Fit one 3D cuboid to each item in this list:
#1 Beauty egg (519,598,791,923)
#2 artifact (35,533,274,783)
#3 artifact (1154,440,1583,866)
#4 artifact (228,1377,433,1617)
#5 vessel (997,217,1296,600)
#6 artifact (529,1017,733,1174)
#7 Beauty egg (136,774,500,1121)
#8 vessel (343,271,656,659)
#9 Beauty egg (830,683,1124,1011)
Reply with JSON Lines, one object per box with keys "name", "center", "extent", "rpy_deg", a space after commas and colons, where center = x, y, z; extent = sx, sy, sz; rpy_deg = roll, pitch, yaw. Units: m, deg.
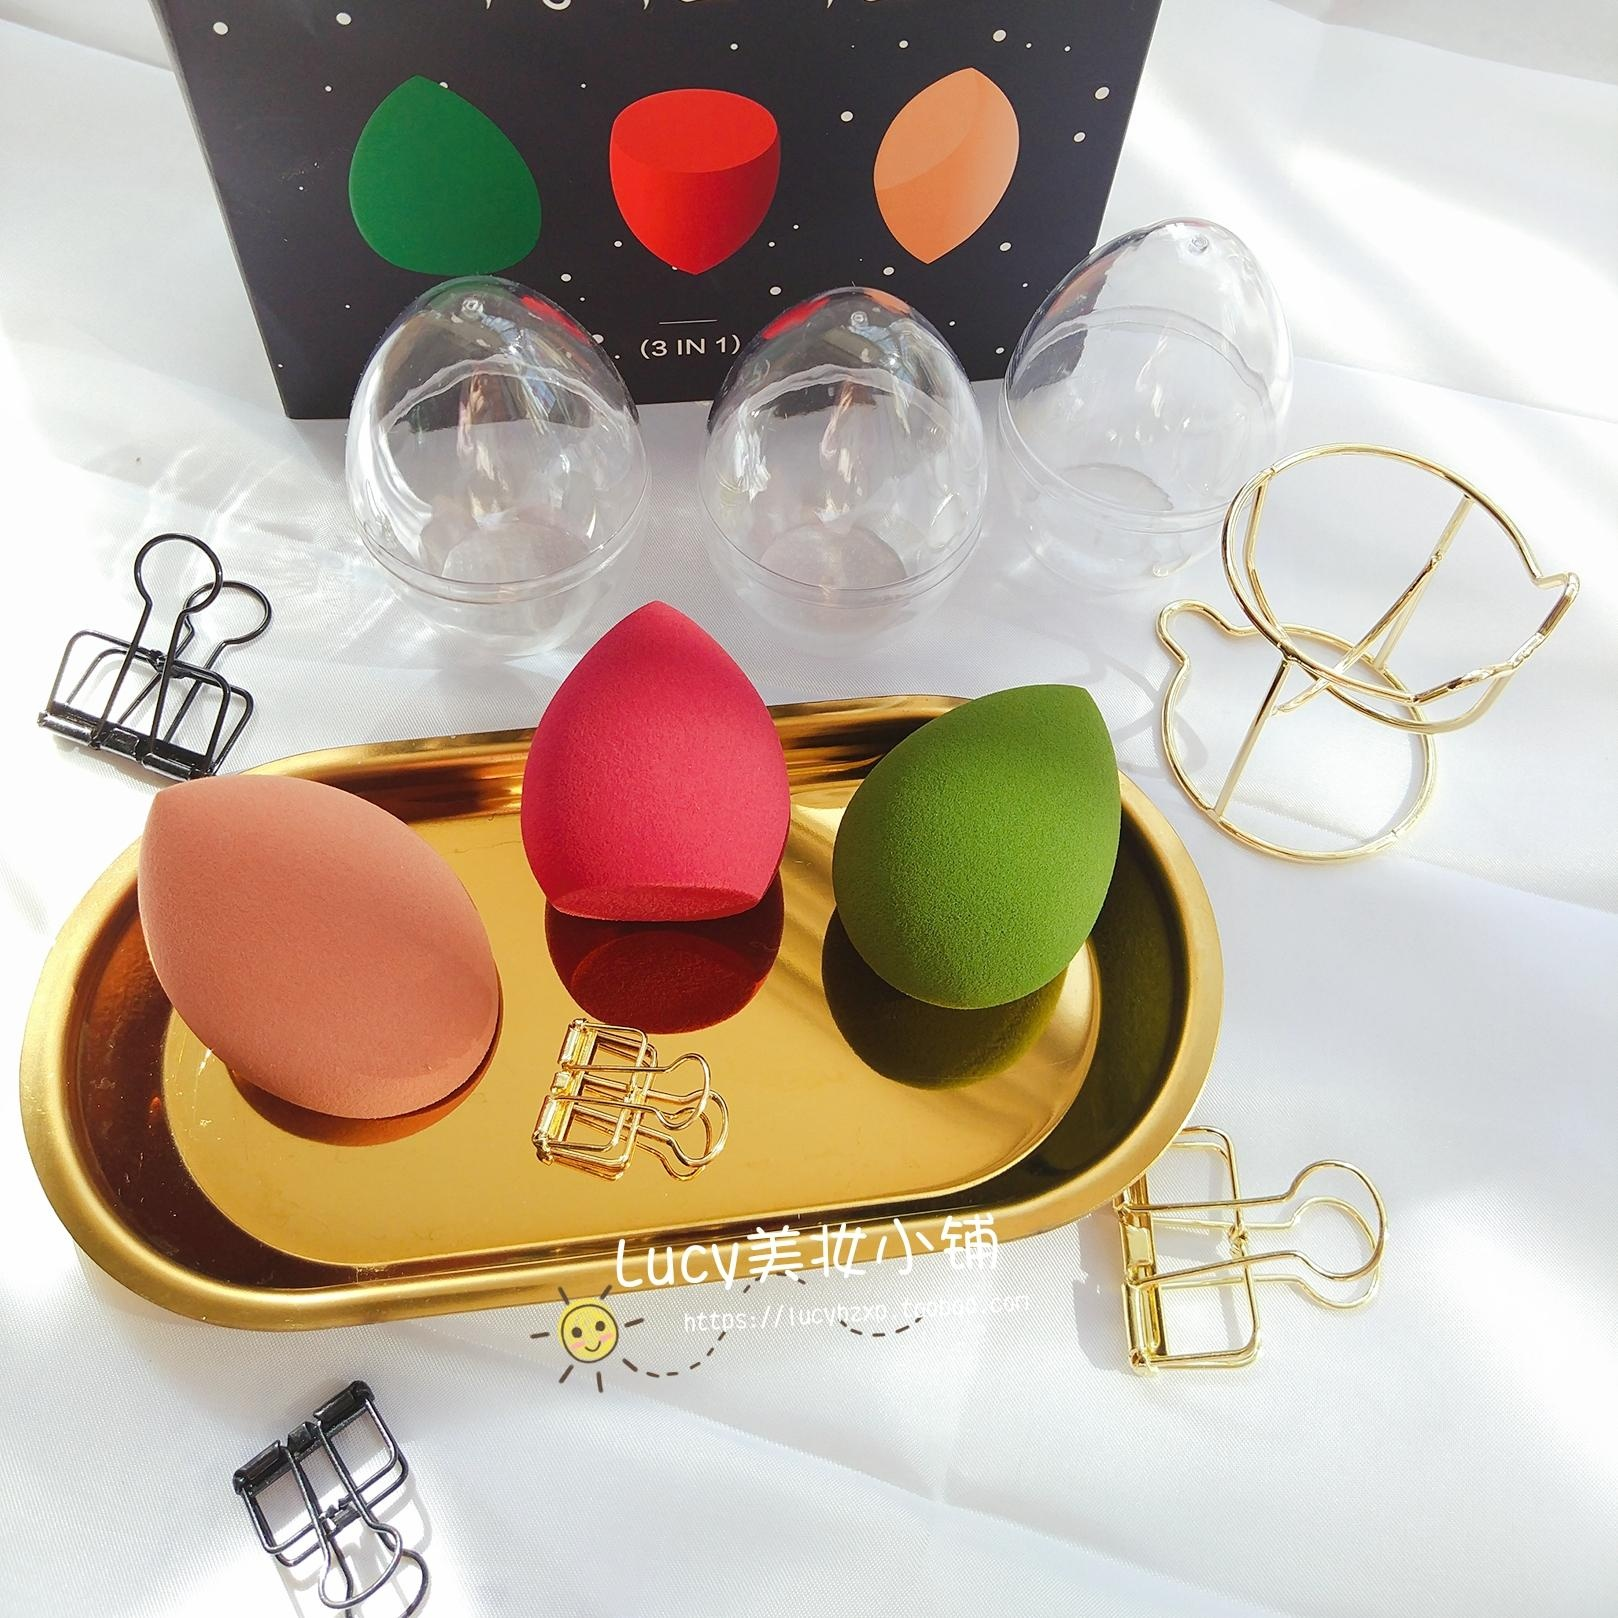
{"name": "Beauty egg", "center": [-0.074, -0.019, 0.683], "extent": [0.143, 0.096, 0.190], "rpy_deg": [0, 88, -5]}
{"name": "artifact", "center": [-0.364, -0.091, 0.821], "extent": [0.089, 0.079, 0.121], "rpy_deg": [16, 81, 0]}
{"name": "artifact", "center": [0.322, -0.084, 0.854], "extent": [0.142, 0.144, 0.147], "rpy_deg": [30, 60, -3]}
{"name": "artifact", "center": [-0.206, 0.302, 0.636], "extent": [0.065, 0.022, 0.096], "rpy_deg": [-27, 69, -18]}
{"name": "vessel", "center": [0.196, -0.234, 0.860], "extent": [0.122, 0.169, 0.133], "rpy_deg": [28, 55, 7]}
{"name": "artifact", "center": [-0.089, 0.136, 0.687], "extent": [0.072, 0.027, 0.069], "rpy_deg": [11, 69, 6]}
{"name": "Beauty egg", "center": [-0.207, 0.051, 0.615], "extent": [0.124, 0.119, 0.113], "rpy_deg": [10, 63, 2]}
{"name": "vessel", "center": [-0.180, -0.222, 0.873], "extent": [0.166, 0.234, 0.183], "rpy_deg": [-8, 30, -17]}
{"name": "Beauty egg", "center": [0.086, 0.021, 0.714], "extent": [0.162, 0.127, 0.141], "rpy_deg": [-16, 105, -39]}
